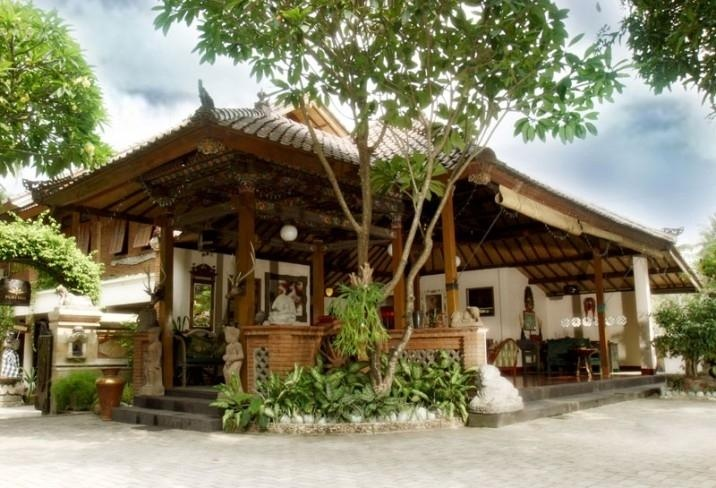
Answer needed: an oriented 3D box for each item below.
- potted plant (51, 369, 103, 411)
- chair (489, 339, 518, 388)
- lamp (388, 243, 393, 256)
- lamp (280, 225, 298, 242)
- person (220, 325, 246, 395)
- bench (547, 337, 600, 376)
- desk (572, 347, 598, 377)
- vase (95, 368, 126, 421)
[{"bbox_3d":[-6.440,3.389,12.148,1.074,0.812,0.331,-3,-13,7],"label":"potted plant"},{"bbox_3d":[4.262,3.279,15.614,0.858,1.114,2.389,-5,-14,14],"label":"chair"},{"bbox_3d":[0.857,0.103,14.038,0.223,0.283,0.260,-2,-2,1],"label":"lamp"},{"bbox_3d":[-1.578,-0.296,11.960,0.379,0.372,0.384,1,-15,18],"label":"lamp"},{"bbox_3d":[-2.248,2.038,9.605,0.338,1.125,0.375,2,-13,-14],"label":"person"},{"bbox_3d":[6.218,3.273,15.402,1.424,1.017,0.760,0,-3,14],"label":"bench"},{"bbox_3d":[6.519,3.356,15.204,0.545,0.890,3.136,-7,-14,23],"label":"desk"},{"bbox_3d":[-5.000,3.016,10.836,0.632,0.998,0.437,-11,-16,37],"label":"vase"}]
